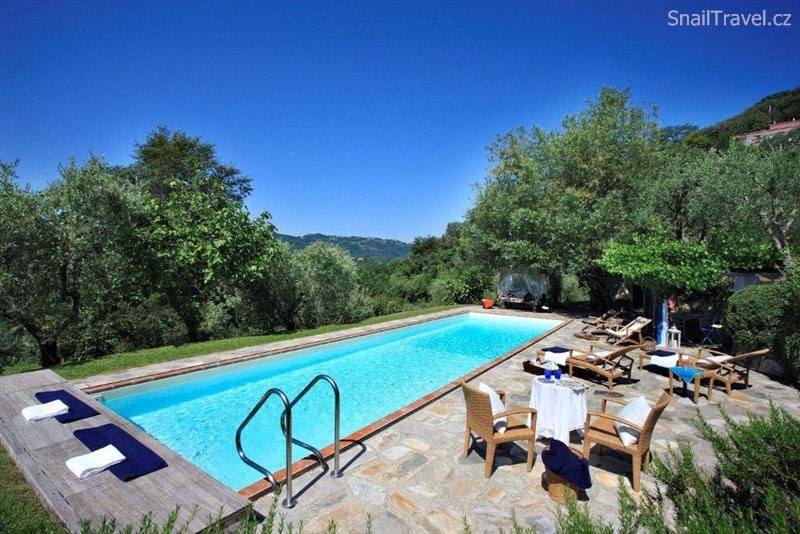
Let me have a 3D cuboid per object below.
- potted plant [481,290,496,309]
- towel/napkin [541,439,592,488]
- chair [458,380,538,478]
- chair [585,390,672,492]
[{"bbox_3d":[6.560,2.836,29.552,1.110,1.448,1.107,0,-4,-14],"label":"potted plant"},{"bbox_3d":[3.210,4.035,7.699,0.812,1.028,0.436,-5,-1,22],"label":"towel/napkin"},{"bbox_3d":[2.157,3.602,8.783,1.510,2.060,1.040,-4,-1,-18],"label":"chair"},{"bbox_3d":[5.005,3.831,8.806,1.559,2.155,1.730,-5,-2,30],"label":"chair"}]
